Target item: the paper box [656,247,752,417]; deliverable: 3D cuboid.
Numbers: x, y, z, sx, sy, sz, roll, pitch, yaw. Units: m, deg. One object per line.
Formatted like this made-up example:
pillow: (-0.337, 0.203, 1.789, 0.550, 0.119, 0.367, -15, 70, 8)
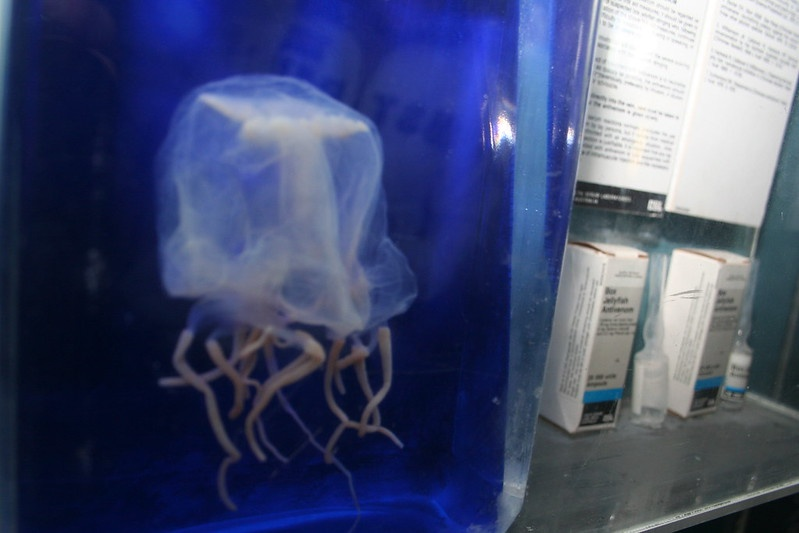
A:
paper box: (0.730, 0.165, 1.526, 0.223, 0.414, 0.058, 2, 7, -26)
